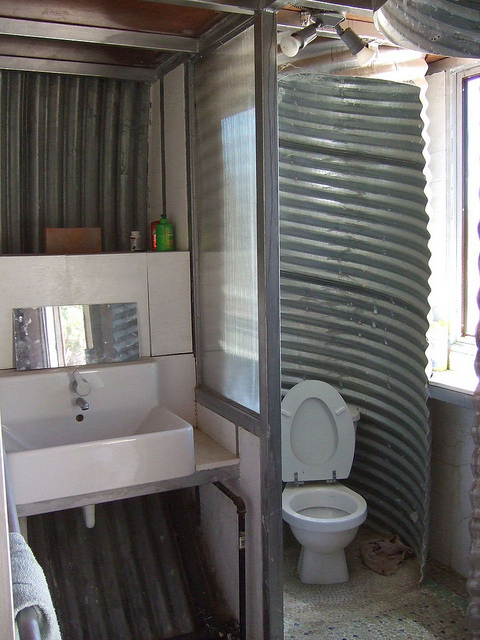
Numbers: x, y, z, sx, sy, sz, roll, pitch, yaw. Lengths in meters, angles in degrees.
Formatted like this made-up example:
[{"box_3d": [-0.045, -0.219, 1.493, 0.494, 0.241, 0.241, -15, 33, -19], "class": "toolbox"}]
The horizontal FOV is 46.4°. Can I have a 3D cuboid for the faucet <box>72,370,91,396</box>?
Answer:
[{"box_3d": [-0.581, 0.237, 2.080, 0.058, 0.090, 0.090, -18, 29, -26], "class": "faucet"}]

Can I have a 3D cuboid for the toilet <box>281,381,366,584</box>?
[{"box_3d": [0.365, 0.743, 2.552, 0.389, 0.906, 0.525, 4, 10, 4], "class": "toilet"}]

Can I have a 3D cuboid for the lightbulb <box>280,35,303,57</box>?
[{"box_3d": [0.175, -0.949, 1.929, 0.064, 0.075, 0.071, -2, 9, -4], "class": "lightbulb"}]

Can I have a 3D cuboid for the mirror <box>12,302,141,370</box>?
[{"box_3d": [-0.625, 0.053, 2.173, 0.462, 0.238, 0.049, -4, 13, -25], "class": "mirror"}]

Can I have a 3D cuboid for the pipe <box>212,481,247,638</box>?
[{"box_3d": [0.000, 0.837, 1.953, 0.096, 0.410, 0.157, -6, 15, -45], "class": "pipe"}]

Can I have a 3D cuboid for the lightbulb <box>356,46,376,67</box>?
[{"box_3d": [0.453, -0.971, 2.047, 0.060, 0.053, 0.060, 24, -30, -37], "class": "lightbulb"}]

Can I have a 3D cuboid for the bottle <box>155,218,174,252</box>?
[{"box_3d": [-0.324, -0.366, 2.387, 0.069, 0.133, 0.054, 1, 10, -9], "class": "bottle"}]

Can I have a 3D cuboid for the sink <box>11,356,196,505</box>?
[{"box_3d": [-0.499, 0.346, 1.965, 0.570, 0.279, 0.630, -1, 10, -21], "class": "sink"}]
